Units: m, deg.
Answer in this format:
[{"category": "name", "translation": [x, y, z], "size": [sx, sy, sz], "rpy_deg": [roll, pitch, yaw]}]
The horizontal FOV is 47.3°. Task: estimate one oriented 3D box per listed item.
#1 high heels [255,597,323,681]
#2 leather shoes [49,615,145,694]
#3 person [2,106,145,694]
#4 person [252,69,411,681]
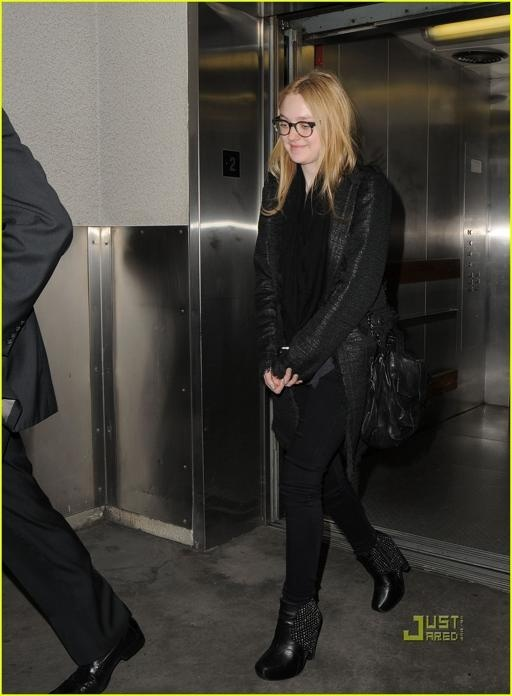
[{"category": "high heels", "translation": [0.093, 0.795, 1.645], "size": [0.100, 0.193, 0.263], "rpy_deg": [-4, -2, 33]}, {"category": "leather shoes", "translation": [-0.404, 0.793, 1.580], "size": [0.091, 0.134, 0.310], "rpy_deg": [1, -2, 21]}, {"category": "person", "translation": [-0.476, 0.185, 1.389], "size": [0.231, 1.421, 0.370], "rpy_deg": [0, 2, 16]}, {"category": "person", "translation": [0.196, 0.083, 1.728], "size": [0.391, 1.610, 0.507], "rpy_deg": [-1, 2, 4]}]
